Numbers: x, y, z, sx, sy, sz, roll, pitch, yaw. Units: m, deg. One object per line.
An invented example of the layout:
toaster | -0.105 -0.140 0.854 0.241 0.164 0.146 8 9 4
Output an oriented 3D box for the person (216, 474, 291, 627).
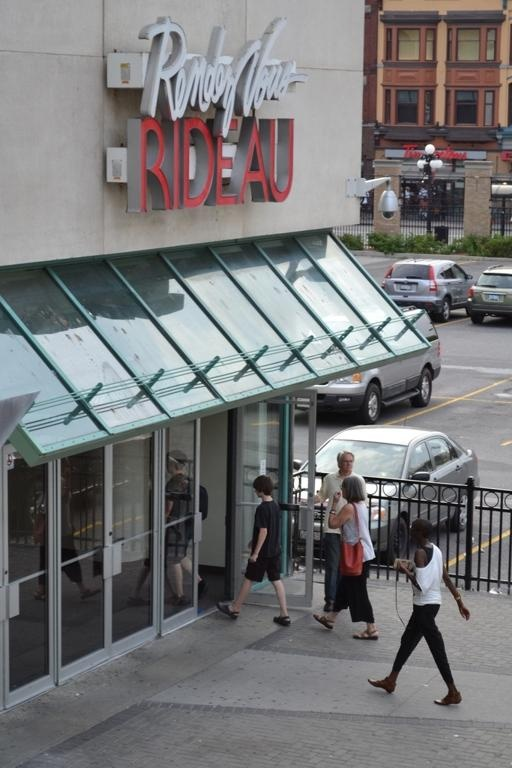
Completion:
person | 0.046 1.477 12.790 0.623 1.413 0.603 -5 10 -42

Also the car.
car | 1.508 1.179 15.958 1.129 0.986 2.165 1 4 24

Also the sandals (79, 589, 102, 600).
sandals | -1.297 1.646 11.156 0.158 0.072 0.054 -9 16 -34

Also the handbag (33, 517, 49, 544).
handbag | -1.589 1.089 10.495 0.028 0.213 0.113 6 9 37

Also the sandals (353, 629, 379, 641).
sandals | 0.962 2.178 12.356 0.204 0.091 0.085 5 4 16

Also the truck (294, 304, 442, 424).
truck | 2.102 -0.127 23.442 1.408 1.434 3.026 3 11 29

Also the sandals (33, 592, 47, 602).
sandals | -1.598 1.581 10.518 0.033 0.043 0.104 5 9 21

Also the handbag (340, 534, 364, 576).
handbag | 0.820 1.497 12.121 0.198 0.328 0.140 2 7 2

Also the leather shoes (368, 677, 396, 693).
leather shoes | 0.970 2.324 10.883 0.202 0.109 0.070 21 12 22

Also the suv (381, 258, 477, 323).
suv | 4.423 -2.484 36.273 1.352 1.240 2.795 4 14 26

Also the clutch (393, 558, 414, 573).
clutch | 1.114 1.377 10.739 0.155 0.074 0.231 1 -9 16

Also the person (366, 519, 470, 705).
person | 1.291 1.690 10.973 0.689 1.389 0.868 3 7 9
